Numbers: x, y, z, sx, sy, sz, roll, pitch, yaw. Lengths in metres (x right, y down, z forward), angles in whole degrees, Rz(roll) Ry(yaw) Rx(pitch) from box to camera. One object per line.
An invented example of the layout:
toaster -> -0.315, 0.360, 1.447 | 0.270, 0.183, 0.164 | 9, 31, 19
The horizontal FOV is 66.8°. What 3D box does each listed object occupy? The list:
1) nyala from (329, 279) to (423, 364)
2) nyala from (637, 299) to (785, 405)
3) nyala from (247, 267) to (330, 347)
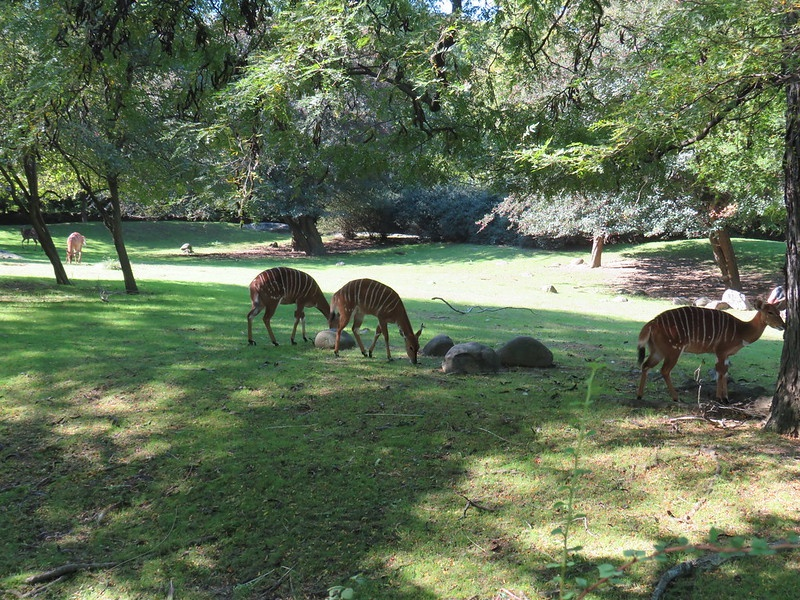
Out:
nyala -> -0.357, 0.321, 10.024 | 1.647, 1.201, 0.466 | 11, 5, 20
nyala -> 3.886, 0.622, 7.648 | 1.766, 1.260, 0.498 | 0, -3, 4
nyala -> -1.990, 0.078, 10.785 | 1.545, 1.357, 0.863 | -6, 10, -28
